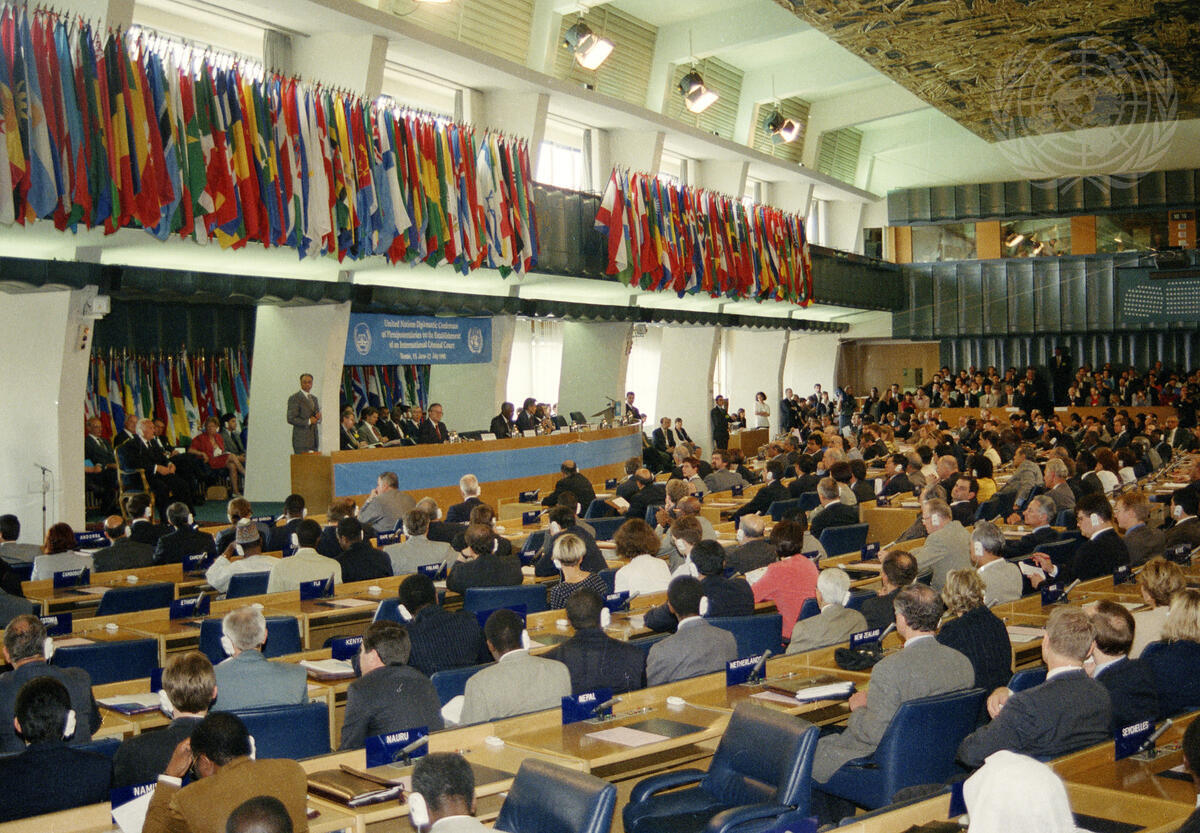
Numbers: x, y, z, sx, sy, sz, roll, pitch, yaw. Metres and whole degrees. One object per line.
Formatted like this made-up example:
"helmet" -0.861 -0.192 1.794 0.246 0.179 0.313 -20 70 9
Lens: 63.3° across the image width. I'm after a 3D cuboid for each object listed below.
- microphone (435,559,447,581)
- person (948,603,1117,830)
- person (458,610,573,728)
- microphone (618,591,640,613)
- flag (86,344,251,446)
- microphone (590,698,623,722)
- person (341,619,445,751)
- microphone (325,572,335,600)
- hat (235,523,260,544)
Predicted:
"microphone" -1.633 1.577 10.049 0.016 0.126 0.177 -2 -1 30
"person" 2.548 1.605 5.615 0.875 0.757 0.404 -2 1 -22
"person" -0.579 1.718 6.528 0.446 1.075 0.336 -10 24 -22
"microphone" 0.272 1.698 8.945 0.060 0.192 0.192 -1 -1 36
"flag" -8.589 -0.510 19.093 0.243 1.431 2.051 -3 -3 42
"microphone" 0.053 1.898 6.253 0.091 0.134 0.047 2 -24 23
"person" -1.292 1.648 6.018 0.621 0.759 0.423 -2 1 -16
"microphone" -2.601 1.612 9.385 0.057 0.175 0.103 3 24 12
"hat" -3.645 1.161 10.076 0.183 0.257 0.243 13 -26 -27
